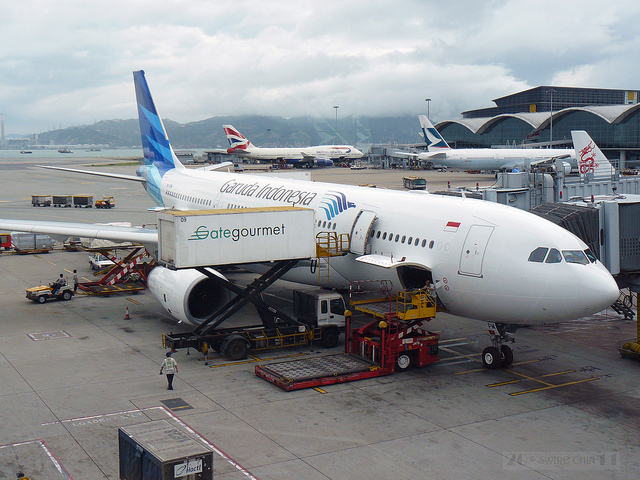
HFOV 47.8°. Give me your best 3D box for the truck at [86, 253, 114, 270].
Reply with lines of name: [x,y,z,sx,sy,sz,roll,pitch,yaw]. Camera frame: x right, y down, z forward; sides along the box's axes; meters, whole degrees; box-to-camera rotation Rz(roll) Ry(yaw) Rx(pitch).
truck: [-15.098,1.369,49.754,1.278,0.623,2.119,-3,4,-42]

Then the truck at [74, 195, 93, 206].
truck: [-27.320,-4.651,84.554,2.911,0.959,1.396,1,2,8]

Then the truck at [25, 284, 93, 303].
truck: [-15.311,3.070,42.384,4.033,0.807,1.331,1,0,-27]

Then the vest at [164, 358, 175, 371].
vest: [-6.144,5.045,29.547,0.375,0.455,0.268,-7,9,-15]
